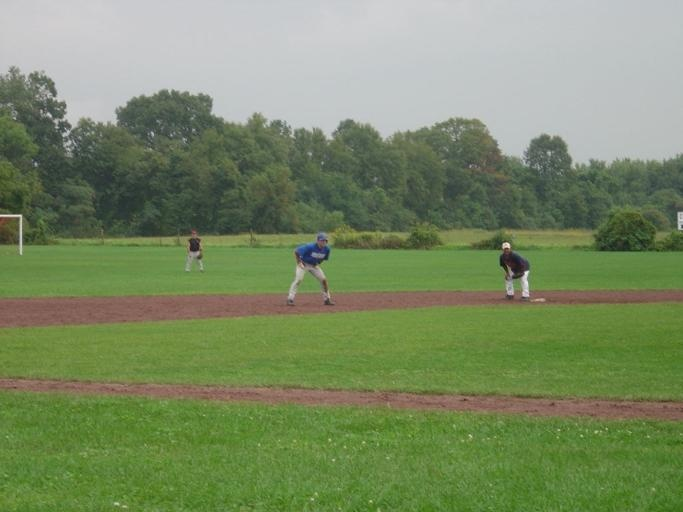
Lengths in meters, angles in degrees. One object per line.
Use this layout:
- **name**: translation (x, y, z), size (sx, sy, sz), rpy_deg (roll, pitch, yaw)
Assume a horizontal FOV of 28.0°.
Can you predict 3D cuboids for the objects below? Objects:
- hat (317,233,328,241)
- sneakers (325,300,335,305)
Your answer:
- **hat**: translation (-1.216, -0.918, 82.056), size (0.589, 0.437, 0.456), rpy_deg (0, -1, 7)
- **sneakers**: translation (-0.798, 2.983, 83.428), size (0.450, 0.216, 0.273), rpy_deg (-2, 2, 6)
